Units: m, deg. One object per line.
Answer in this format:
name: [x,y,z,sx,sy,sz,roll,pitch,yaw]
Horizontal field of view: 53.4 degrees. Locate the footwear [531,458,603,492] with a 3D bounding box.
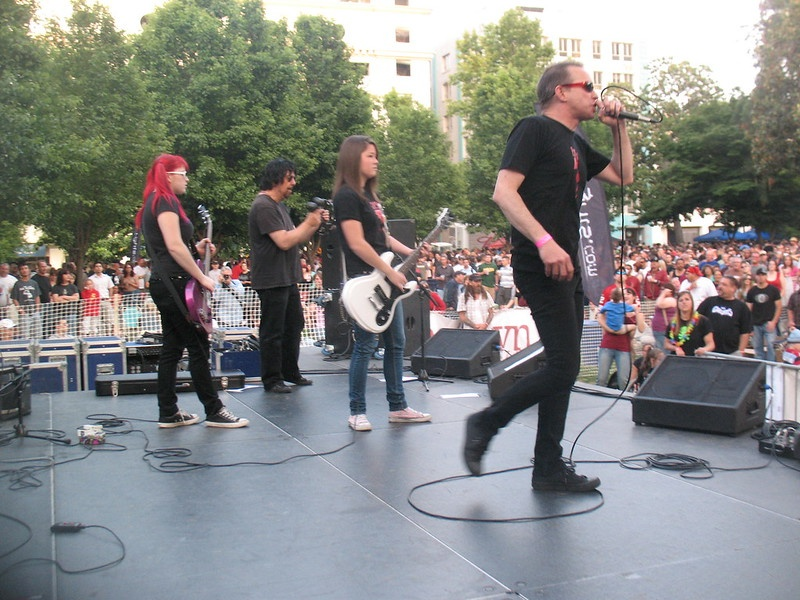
footwear: [1.060,1.059,4.810,0.481,0.179,0.160,0,-1,-5]

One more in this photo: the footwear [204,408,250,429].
footwear: [-1.323,0.914,6.116,0.378,0.140,0.127,0,2,-1]

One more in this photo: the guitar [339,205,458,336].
guitar: [-0.049,-0.156,6.139,0.458,0.761,1.058,4,11,22]

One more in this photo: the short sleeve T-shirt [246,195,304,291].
short sleeve T-shirt: [-1.129,-0.538,7.245,0.493,0.863,0.398,-6,12,-23]

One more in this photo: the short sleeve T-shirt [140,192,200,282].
short sleeve T-shirt: [-1.706,-0.483,5.967,0.184,0.593,0.384,-4,11,-36]

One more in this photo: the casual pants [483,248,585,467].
casual pants: [0.797,0.399,4.644,0.498,1.155,0.216,0,12,6]
